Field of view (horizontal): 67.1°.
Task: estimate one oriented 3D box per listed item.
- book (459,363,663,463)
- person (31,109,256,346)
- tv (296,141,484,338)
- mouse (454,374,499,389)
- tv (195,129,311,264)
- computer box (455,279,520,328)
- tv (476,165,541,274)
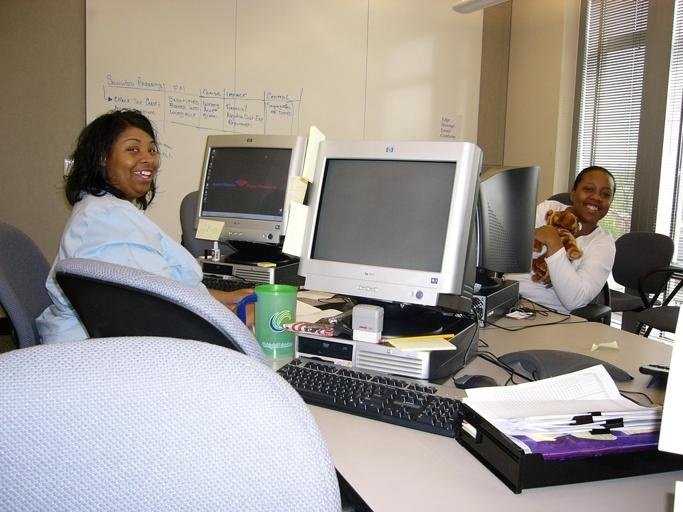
[{"bbox_3d":[0.426,0.302,0.974,0.172,0.050,0.164,-9,12,-16],"label":"book"},{"bbox_3d":[-0.677,-0.102,1.820,0.674,0.784,0.527,-3,6,-13],"label":"person"},{"bbox_3d":[0.167,-0.083,1.542,0.502,0.438,0.270,7,-4,31],"label":"tv"},{"bbox_3d":[0.319,0.292,1.222,0.068,0.020,0.040,-5,12,-6],"label":"mouse"},{"bbox_3d":[-0.398,-0.292,2.394,0.483,0.455,0.267,5,-5,15],"label":"tv"},{"bbox_3d":[0.517,0.152,1.886,0.172,0.108,0.236,10,20,43],"label":"computer box"},{"bbox_3d":[0.578,-0.131,1.805,0.231,0.366,0.390,-1,8,2],"label":"tv"}]
